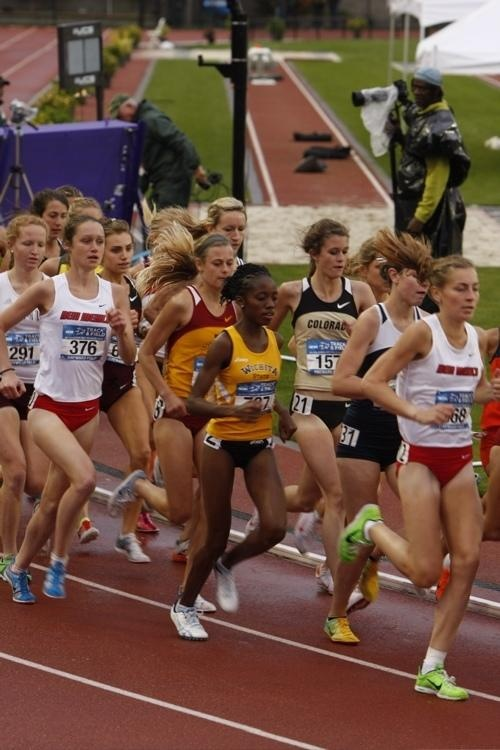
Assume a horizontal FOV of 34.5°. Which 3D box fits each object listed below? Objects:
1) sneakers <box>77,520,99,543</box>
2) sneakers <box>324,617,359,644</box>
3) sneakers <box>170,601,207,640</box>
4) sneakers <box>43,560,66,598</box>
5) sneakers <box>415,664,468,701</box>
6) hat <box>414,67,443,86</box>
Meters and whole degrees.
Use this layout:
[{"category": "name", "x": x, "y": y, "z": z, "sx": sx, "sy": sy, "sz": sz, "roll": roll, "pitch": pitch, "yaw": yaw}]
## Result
[{"category": "sneakers", "x": -0.957, "y": 0.930, "z": 4.757, "sx": 0.092, "sy": 0.119, "sz": 0.252, "roll": 6, "pitch": -28, "yaw": -20}, {"category": "sneakers", "x": 0.416, "y": 1.195, "z": 3.804, "sx": 0.091, "sy": 0.076, "sz": 0.183, "roll": 0, "pitch": 2, "yaw": -37}, {"category": "sneakers", "x": -0.275, "y": 1.111, "z": 3.639, "sx": 0.166, "sy": 0.127, "sz": 0.123, "roll": 3, "pitch": 1, "yaw": -2}, {"category": "sneakers", "x": -0.933, "y": 0.979, "z": 3.860, "sx": 0.094, "sy": 0.211, "sz": 0.154, "roll": 4, "pitch": 1, "yaw": -11}, {"category": "sneakers", "x": 0.722, "y": 1.188, "z": 3.130, "sx": 0.257, "sy": 0.113, "sz": 0.093, "roll": 3, "pitch": 3, "yaw": 34}, {"category": "hat", "x": 1.631, "y": -2.760, "z": 7.432, "sx": 0.240, "sy": 0.121, "sz": 0.223, "roll": 11, "pitch": 21, "yaw": -13}]
